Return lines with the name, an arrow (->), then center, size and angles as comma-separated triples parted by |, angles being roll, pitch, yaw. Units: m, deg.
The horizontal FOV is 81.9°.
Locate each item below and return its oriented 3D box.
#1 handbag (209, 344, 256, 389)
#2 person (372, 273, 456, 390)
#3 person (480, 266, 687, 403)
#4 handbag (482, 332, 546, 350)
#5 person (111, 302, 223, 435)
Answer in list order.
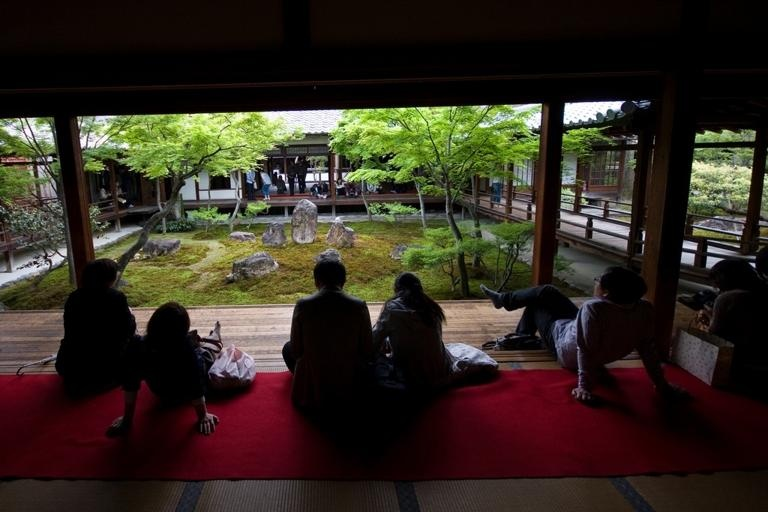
handbag -> -1.379, 0.936, 3.931 | 0.468, 0.215, 0.572 | 10, 8, -15
person -> 0.234, 0.628, 3.926 | 0.853, 0.858, 0.975 | 0, 6, 0
person -> 1.671, 0.568, 4.113 | 1.077, 0.862, 1.829 | 1, 5, -25
handbag -> 1.285, 0.856, 4.411 | 0.480, 0.089, 0.218 | 0, 0, 1
person -> -1.554, 0.779, 3.486 | 0.747, 0.568, 1.101 | 3, 26, -7
